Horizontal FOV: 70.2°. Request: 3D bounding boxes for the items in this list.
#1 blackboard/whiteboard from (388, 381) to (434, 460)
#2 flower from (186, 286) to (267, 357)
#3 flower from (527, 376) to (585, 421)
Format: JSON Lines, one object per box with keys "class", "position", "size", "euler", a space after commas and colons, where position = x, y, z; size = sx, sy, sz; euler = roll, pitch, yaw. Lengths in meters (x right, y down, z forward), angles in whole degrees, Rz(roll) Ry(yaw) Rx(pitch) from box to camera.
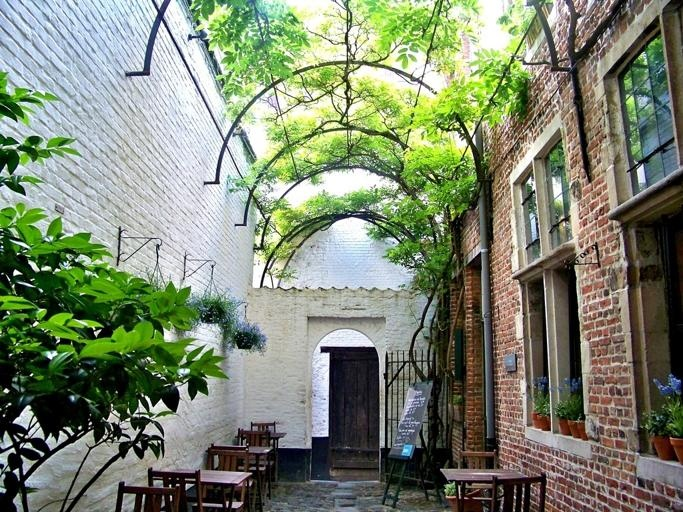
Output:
{"class": "blackboard/whiteboard", "position": [1.077, 2.494, 7.454], "size": [0.637, 1.163, 0.648], "euler": [18, -26, -36]}
{"class": "flower", "position": [-1.428, 0.828, 6.141], "size": [0.955, 0.695, 1.374], "euler": [1, -13, 4]}
{"class": "flower", "position": [1.916, 1.275, 4.303], "size": [0.161, 0.253, 0.506], "euler": [5, -20, -9]}
